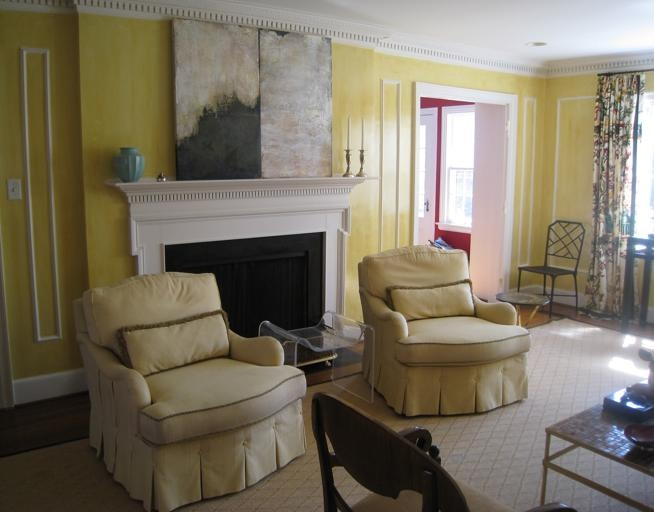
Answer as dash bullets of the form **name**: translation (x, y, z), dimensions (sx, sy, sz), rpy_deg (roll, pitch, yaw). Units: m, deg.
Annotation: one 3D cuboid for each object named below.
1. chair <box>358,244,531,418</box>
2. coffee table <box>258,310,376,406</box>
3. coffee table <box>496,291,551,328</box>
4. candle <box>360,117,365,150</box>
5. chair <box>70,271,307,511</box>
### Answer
- **chair**: translation (0.798, 0.493, 4.460), dimensions (1.074, 1.265, 1.247), rpy_deg (-3, 5, -22)
- **coffee table**: translation (-0.076, 0.619, 4.633), dimensions (0.921, 0.500, 0.941), rpy_deg (0, 14, 26)
- **coffee table**: translation (1.992, 0.570, 5.488), dimensions (0.360, 0.282, 0.387), rpy_deg (2, -1, 15)
- **candle**: translation (0.341, -1.132, 5.167), dimensions (0.055, 0.272, 0.016), rpy_deg (-9, 13, -41)
- **chair**: translation (-0.816, 0.744, 3.479), dimensions (1.157, 1.187, 0.993), rpy_deg (-7, 11, -34)
